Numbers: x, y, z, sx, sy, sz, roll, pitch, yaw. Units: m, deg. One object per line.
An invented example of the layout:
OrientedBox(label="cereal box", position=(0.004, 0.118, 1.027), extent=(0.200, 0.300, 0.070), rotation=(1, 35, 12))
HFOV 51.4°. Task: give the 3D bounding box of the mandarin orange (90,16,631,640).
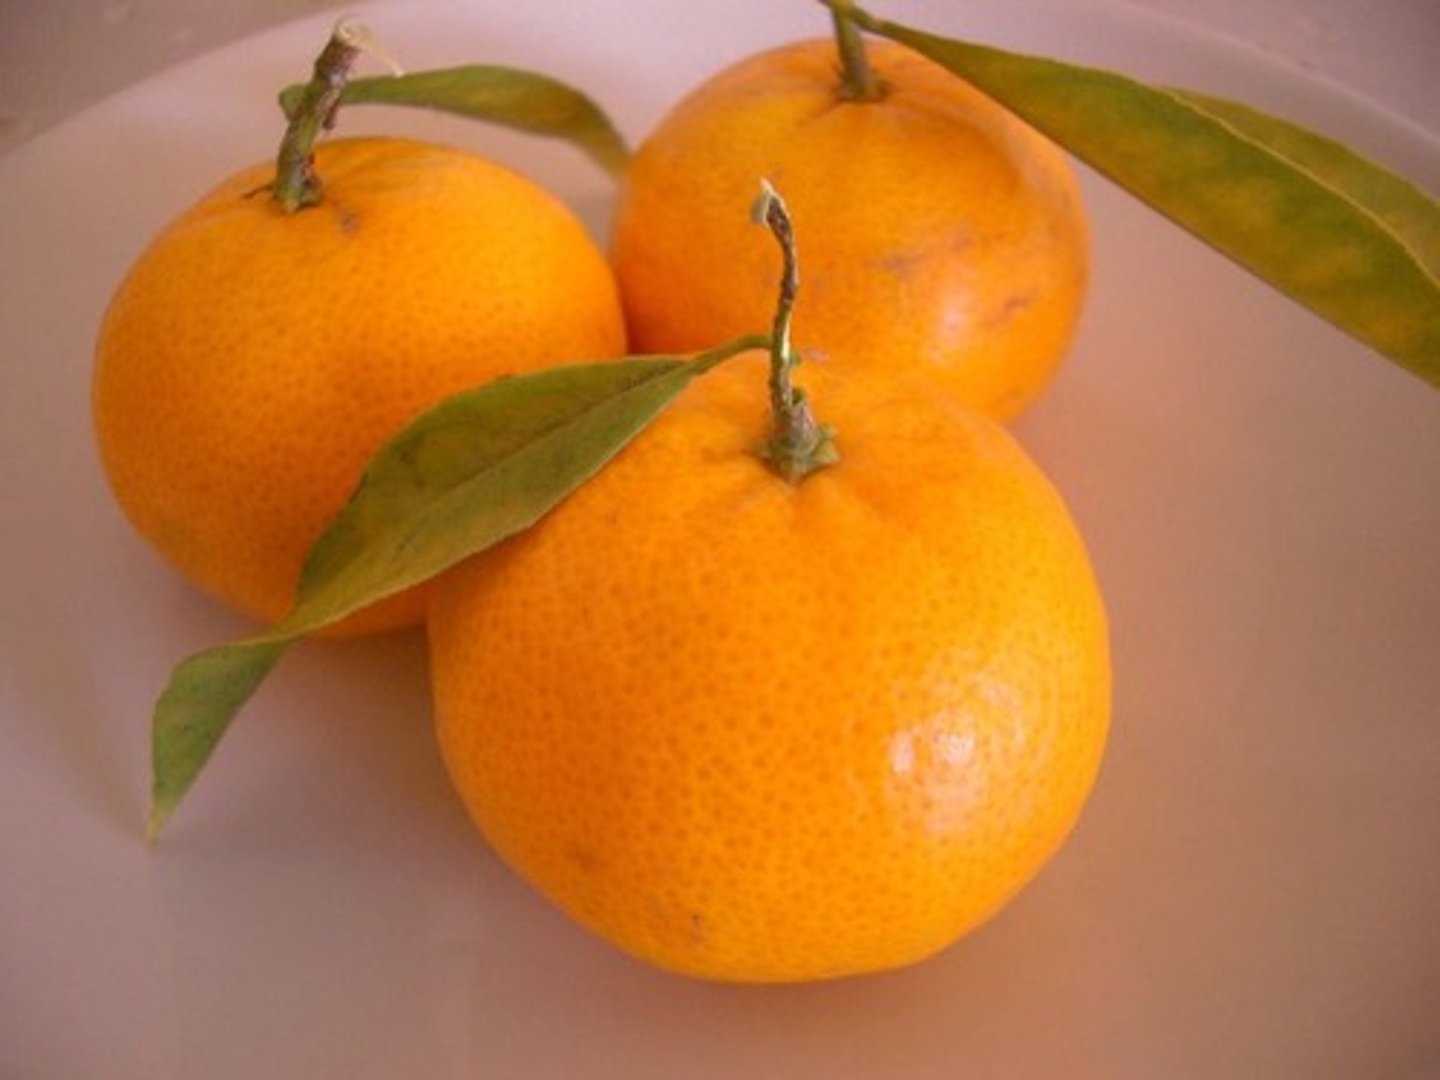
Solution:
OrientedBox(label="mandarin orange", position=(-0.237, -0.121, 0.901), extent=(0.254, 0.296, 0.262), rotation=(-2, 15, -35))
